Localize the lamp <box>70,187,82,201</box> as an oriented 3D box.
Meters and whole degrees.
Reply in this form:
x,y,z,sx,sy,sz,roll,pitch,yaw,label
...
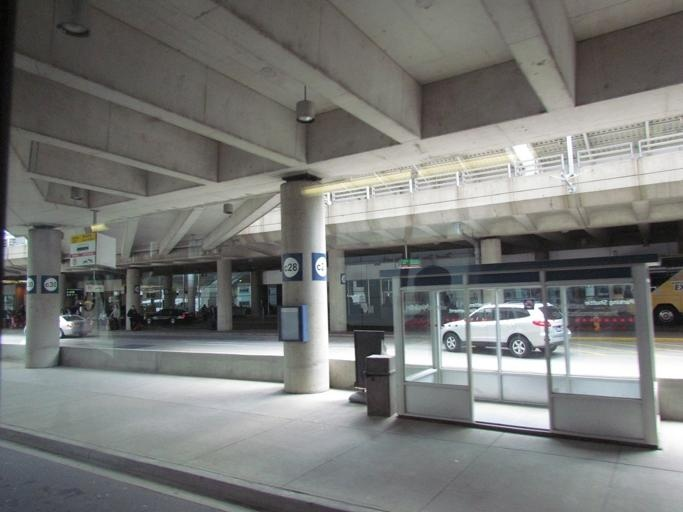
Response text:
x,y,z,sx,sy,sz,roll,pitch,yaw,label
-8.347,-1.993,15.909,0.319,0.397,0.428,0,0,26,lamp

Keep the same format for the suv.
x,y,z,sx,sy,sz,roll,pitch,yaw,label
3.335,1.521,10.329,1.086,0.914,2.293,4,-2,-42,suv

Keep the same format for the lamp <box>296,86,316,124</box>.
x,y,z,sx,sy,sz,roll,pitch,yaw,label
-0.791,-3.260,10.843,0.353,0.721,0.966,-3,1,-2,lamp
